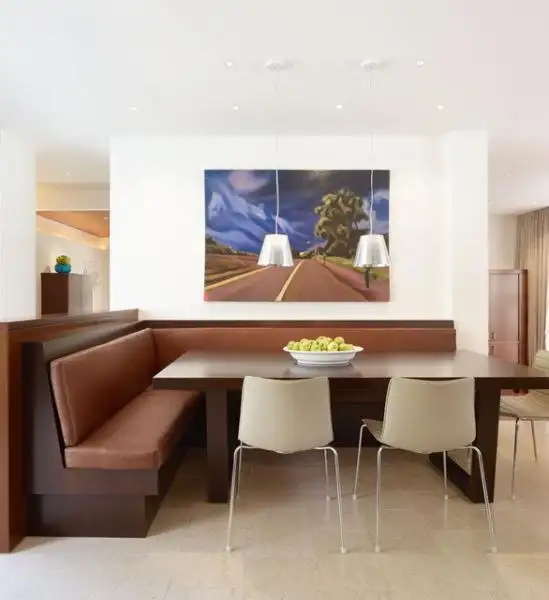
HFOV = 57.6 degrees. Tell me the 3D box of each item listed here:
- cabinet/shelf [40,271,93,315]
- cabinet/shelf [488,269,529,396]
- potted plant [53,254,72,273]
[{"bbox_3d":[-2.361,-0.065,5.611,0.179,0.447,0.514,-1,2,8],"label":"cabinet/shelf"},{"bbox_3d":[2.762,0.421,6.021,0.433,1.896,0.396,1,33,28],"label":"cabinet/shelf"},{"bbox_3d":[-2.413,-0.402,5.788,0.190,0.264,0.192,1,-7,-3],"label":"potted plant"}]
